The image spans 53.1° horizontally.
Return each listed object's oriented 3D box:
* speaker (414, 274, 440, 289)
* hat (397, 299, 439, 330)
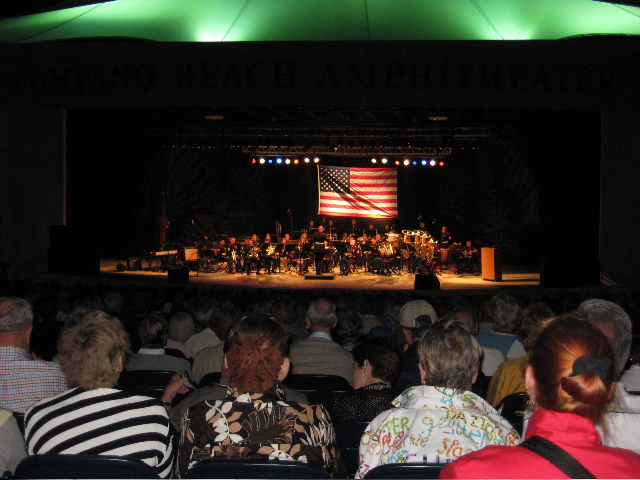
[{"bbox_3d":[2.146,0.853,12.971,0.340,0.224,0.341,0,-1,-11],"label":"speaker"},{"bbox_3d":[0.783,0.599,5.149,0.272,0.219,0.370,2,0,9],"label":"hat"}]
